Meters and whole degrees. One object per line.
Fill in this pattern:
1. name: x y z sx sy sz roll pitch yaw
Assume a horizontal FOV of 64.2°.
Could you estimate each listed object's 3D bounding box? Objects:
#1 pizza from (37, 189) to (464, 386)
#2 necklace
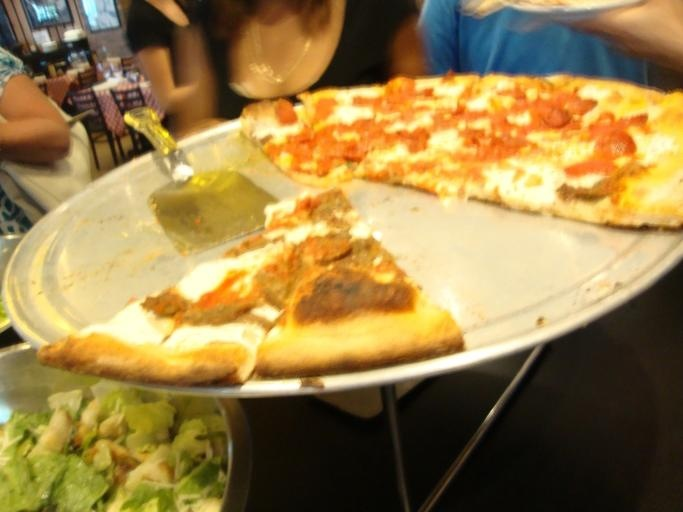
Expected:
1. pizza: -0.214 0.066 1.399 0.917 0.182 0.606 -7 56 -3
2. necklace: -0.224 -0.703 1.896 0.197 0.067 0.254 26 93 -2
